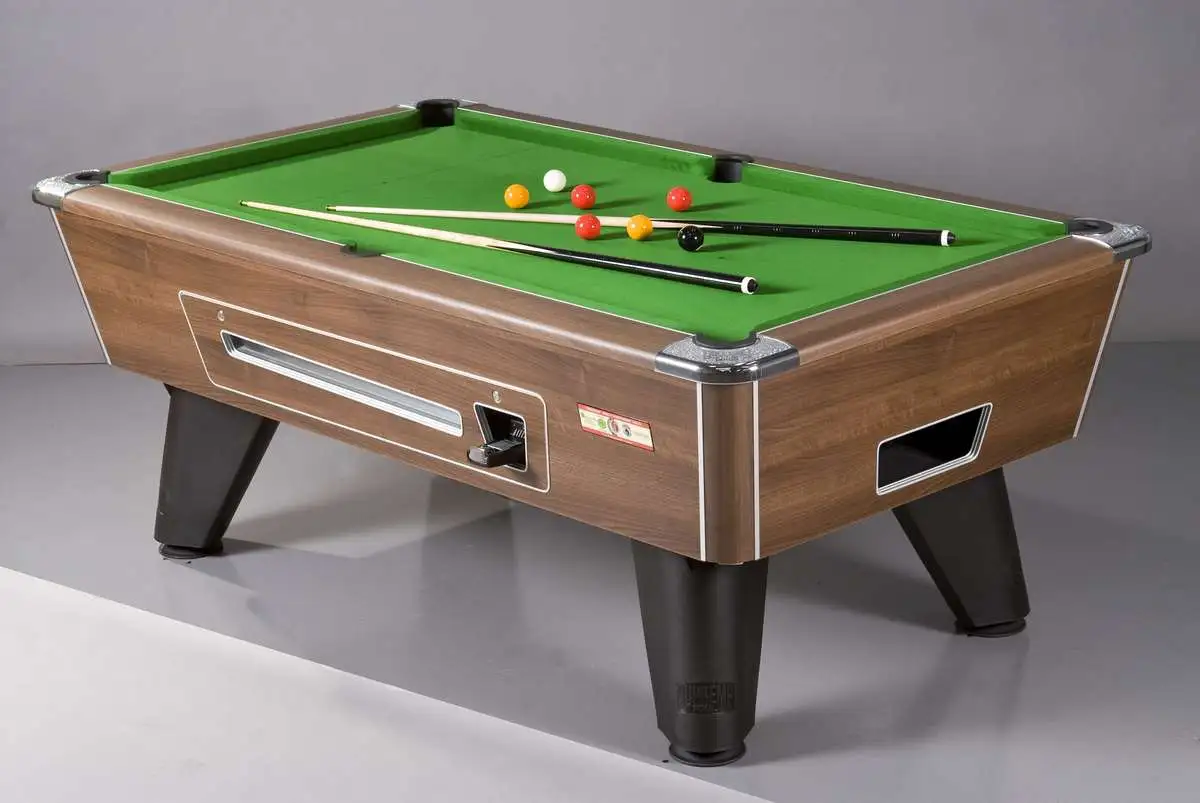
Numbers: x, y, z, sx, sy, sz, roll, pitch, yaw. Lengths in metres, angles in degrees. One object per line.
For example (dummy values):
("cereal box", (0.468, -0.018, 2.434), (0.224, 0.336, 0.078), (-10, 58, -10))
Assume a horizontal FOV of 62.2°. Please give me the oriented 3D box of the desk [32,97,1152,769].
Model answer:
("desk", (-0.134, -0.293, 2.451), (2.232, 0.638, 1.261), (18, 31, 35))
